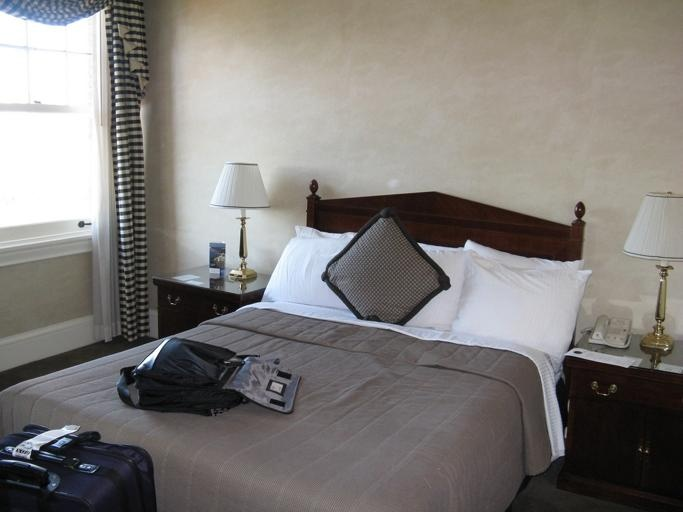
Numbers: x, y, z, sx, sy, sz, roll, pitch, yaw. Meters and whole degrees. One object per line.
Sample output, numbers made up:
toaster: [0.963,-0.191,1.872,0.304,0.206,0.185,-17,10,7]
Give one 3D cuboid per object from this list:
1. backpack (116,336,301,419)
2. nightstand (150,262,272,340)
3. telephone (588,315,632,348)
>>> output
backpack: [-0.607,0.563,2.356,0.524,0.126,0.401,3,7,4]
nightstand: [-0.998,0.307,4.087,0.771,0.762,0.519,8,12,33]
telephone: [1.600,0.438,3.107,0.178,0.096,0.237,5,32,40]
